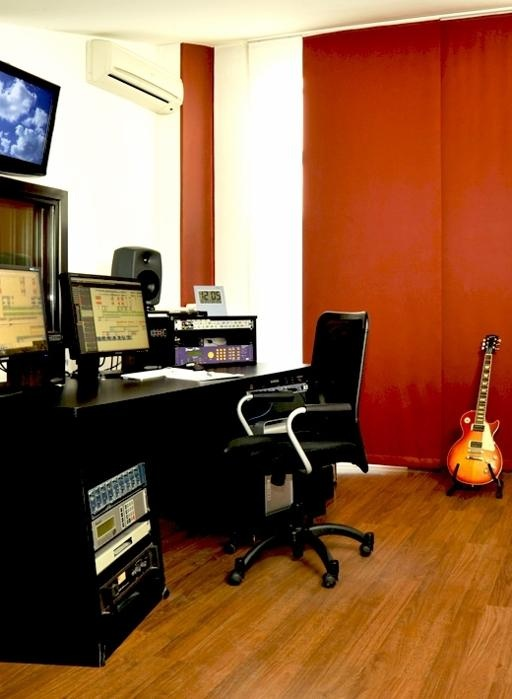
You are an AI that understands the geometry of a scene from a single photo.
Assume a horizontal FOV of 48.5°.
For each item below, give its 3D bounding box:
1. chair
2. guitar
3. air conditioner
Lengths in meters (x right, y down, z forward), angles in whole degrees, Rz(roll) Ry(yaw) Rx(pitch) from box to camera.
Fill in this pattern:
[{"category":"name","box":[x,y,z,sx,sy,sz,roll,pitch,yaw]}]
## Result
[{"category":"chair","box":[0.216,0.409,2.541,0.706,1.142,0.658,0,0,-32]},{"category":"guitar","box":[1.397,0.401,3.641,0.304,0.983,0.438,0,0,20]},{"category":"air conditioner","box":[-0.620,-1.451,3.064,0.145,0.229,0.575,9,9,31]}]
